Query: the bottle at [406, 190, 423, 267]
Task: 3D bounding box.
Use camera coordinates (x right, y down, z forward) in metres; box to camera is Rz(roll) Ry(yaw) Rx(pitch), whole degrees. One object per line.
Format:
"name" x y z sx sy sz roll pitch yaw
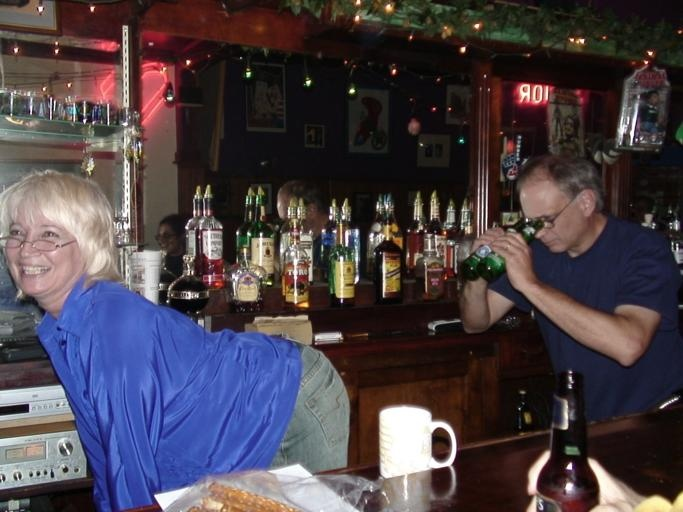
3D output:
"bottle" 0.391 -0.129 3.129 0.102 0.436 0.264 -1 -1 7

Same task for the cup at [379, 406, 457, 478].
"cup" 0.169 0.420 1.299 0.176 0.134 0.112 6 -24 -9

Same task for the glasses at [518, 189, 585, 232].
"glasses" 0.776 -0.136 2.183 0.167 0.052 0.162 -41 19 -16

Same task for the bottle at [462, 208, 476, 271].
"bottle" 0.679 -0.070 3.191 0.078 0.326 0.078 -4 16 1

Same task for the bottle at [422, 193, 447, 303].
"bottle" 0.482 -0.053 3.067 0.133 0.553 0.132 2 -6 0
